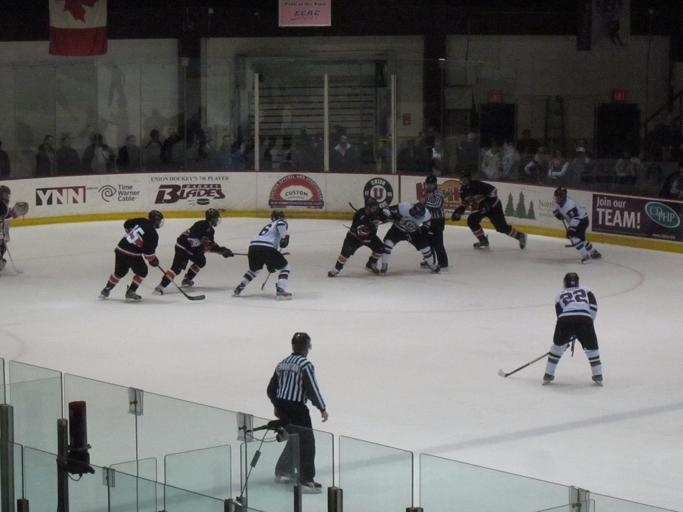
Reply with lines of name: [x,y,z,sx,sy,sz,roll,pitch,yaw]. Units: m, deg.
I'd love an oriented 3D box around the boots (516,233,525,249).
boots: [3.435,-0.314,18.760,0.120,0.375,0.156,-2,-5,-10]

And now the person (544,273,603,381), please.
person: [2.745,0.849,11.646,0.630,1.407,0.644,-3,-15,21]

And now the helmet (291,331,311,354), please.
helmet: [-0.382,0.832,9.498,0.191,0.315,0.198,1,3,7]

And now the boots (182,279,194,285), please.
boots: [-2.493,0.430,15.853,0.157,0.119,0.080,-8,20,-15]

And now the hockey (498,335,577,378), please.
hockey: [2.455,1.274,12.302,1.112,0.169,0.126,-20,33,-18]

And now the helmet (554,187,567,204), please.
helmet: [3.860,-1.077,17.464,0.233,0.303,0.294,5,11,44]

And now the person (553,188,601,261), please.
person: [4.321,-0.630,17.924,0.892,1.355,1.263,4,14,14]

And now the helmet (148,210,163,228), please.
helmet: [-2.826,-0.550,14.898,0.172,0.313,0.418,-1,13,-4]

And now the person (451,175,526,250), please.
person: [2.843,-0.888,19.044,1.364,1.543,0.606,1,-29,-10]

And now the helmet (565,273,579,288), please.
helmet: [2.771,0.292,11.719,0.145,0.205,0.200,1,-3,2]

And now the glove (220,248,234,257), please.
glove: [-1.845,-0.073,15.610,0.219,0.082,0.137,16,-1,44]

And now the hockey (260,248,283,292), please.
hockey: [-1.122,0.219,15.552,0.493,0.510,0.147,8,30,-6]

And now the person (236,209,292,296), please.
person: [-1.206,-0.035,15.314,0.789,1.340,0.603,-1,13,-4]

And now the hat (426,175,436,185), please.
hat: [1.574,-1.355,17.415,0.178,0.153,0.285,0,13,0]

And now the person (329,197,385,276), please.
person: [0.266,-0.298,16.344,0.925,1.414,0.903,-3,13,-11]

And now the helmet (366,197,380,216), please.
helmet: [0.518,-0.827,15.985,0.198,0.266,0.257,-19,16,-23]

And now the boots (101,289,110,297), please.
boots: [-3.662,0.570,15.157,0.100,0.147,0.040,6,4,-2]

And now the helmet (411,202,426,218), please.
helmet: [1.259,-0.748,16.221,0.259,0.267,0.187,10,8,38]

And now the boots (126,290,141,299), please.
boots: [-3.203,0.592,15.031,0.209,0.138,0.115,-3,15,-9]

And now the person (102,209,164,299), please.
person: [-3.173,0.003,14.926,0.732,1.405,0.750,-11,17,-39]

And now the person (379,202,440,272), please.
person: [1.138,-0.349,16.543,1.033,1.362,0.788,0,24,-7]

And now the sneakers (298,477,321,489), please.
sneakers: [-0.265,1.938,8.436,0.209,0.150,0.072,-1,4,4]
